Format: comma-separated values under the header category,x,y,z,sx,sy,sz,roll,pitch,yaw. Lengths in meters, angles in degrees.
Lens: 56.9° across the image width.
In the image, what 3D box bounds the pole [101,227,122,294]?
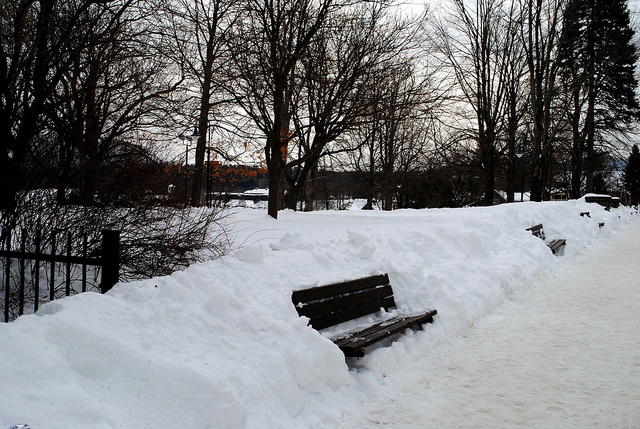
category,x,y,z,sx,sy,sz,roll,pitch,yaw
pole,-3.065,0.675,8.649,0.239,0.924,0.288,1,-3,-22

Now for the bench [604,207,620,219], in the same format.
category,x,y,z,sx,sy,sz,roll,pitch,yaw
bench,13.485,-0.056,27.419,0.466,0.142,0.514,12,2,-26

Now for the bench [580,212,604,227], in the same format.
category,x,y,z,sx,sy,sz,roll,pitch,yaw
bench,10.050,0.167,21.909,0.747,0.609,1.605,-2,-5,27

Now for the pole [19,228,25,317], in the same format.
category,x,y,z,sx,sy,sz,roll,pitch,yaw
pole,-4.470,0.860,8.883,0.047,1.258,0.412,2,-3,-28

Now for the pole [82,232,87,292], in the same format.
category,x,y,z,sx,sy,sz,roll,pitch,yaw
pole,-3.510,0.715,8.832,0.056,0.881,0.588,1,-4,-21

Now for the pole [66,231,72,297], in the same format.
category,x,y,z,sx,sy,sz,roll,pitch,yaw
pole,-3.726,0.728,8.773,0.046,0.939,0.474,1,-4,-25

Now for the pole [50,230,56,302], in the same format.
category,x,y,z,sx,sy,sz,roll,pitch,yaw
pole,-4.009,0.758,8.883,0.055,1.057,0.695,1,-4,-24

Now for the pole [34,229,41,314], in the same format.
category,x,y,z,sx,sy,sz,roll,pitch,yaw
pole,-4.218,0.831,8.827,0.051,1.191,0.402,1,-3,-26
